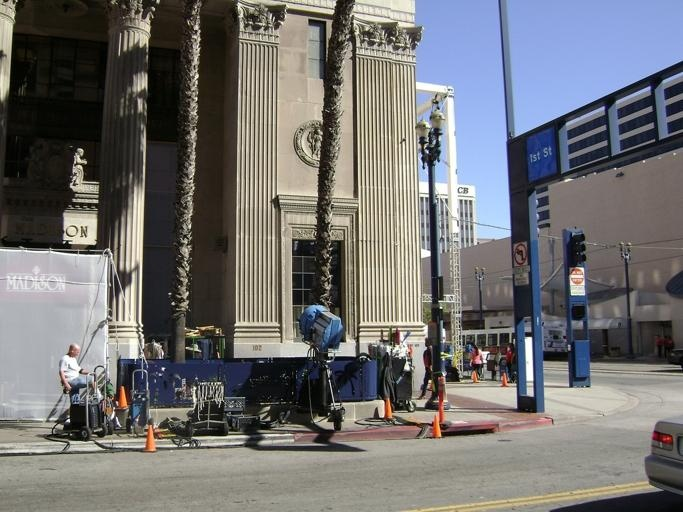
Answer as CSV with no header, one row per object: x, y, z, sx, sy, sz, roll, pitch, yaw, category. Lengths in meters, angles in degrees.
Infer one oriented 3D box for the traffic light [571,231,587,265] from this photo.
8.136,-0.294,28.905,0.473,1.054,1.684,-3,-9,16,traffic light

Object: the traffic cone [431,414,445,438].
2.621,4.720,23.243,0.264,0.608,1.006,-1,-8,6,traffic cone

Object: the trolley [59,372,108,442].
-6.748,3.990,22.174,1.120,1.659,1.273,1,-8,-10,trolley

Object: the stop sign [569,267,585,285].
9.370,0.849,33.491,0.593,1.203,0.109,0,-6,0,stop sign

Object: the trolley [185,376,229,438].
-3.688,4.171,23.160,1.076,1.448,1.895,1,-8,-10,trolley
